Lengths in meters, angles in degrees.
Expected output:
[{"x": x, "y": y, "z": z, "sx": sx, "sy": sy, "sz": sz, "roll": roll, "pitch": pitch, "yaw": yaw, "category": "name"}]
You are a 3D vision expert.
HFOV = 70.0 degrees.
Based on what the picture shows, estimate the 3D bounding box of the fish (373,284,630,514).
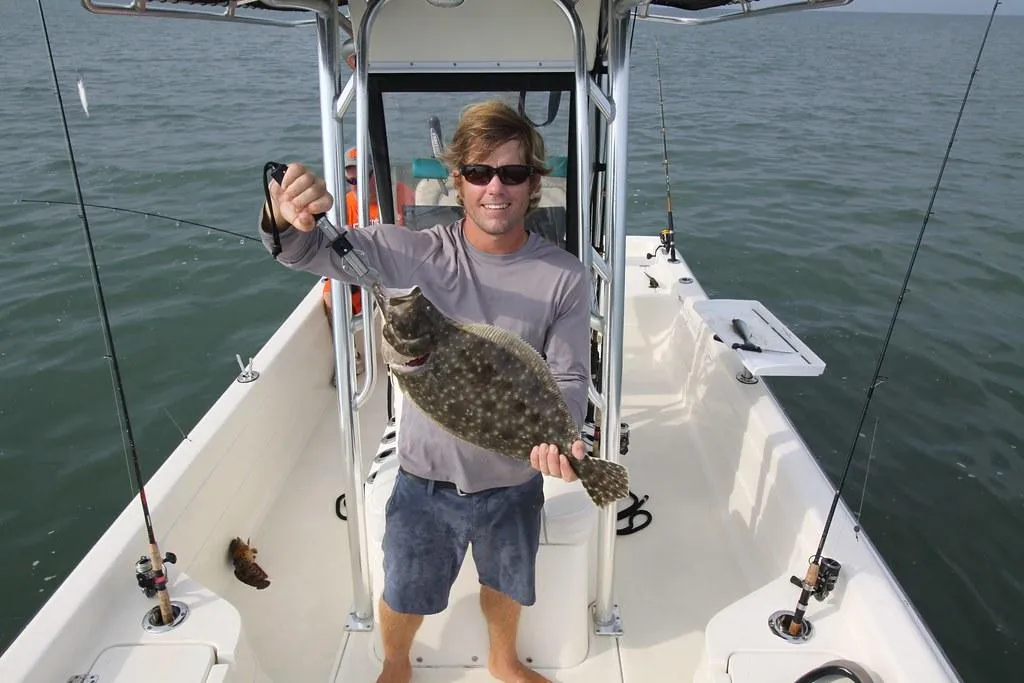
[{"x": -0.066, "y": 0.353, "z": 4.430, "sx": 1.906, "sy": 0.808, "sz": 0.342, "roll": 34, "pitch": 24, "yaw": 1, "category": "fish"}]

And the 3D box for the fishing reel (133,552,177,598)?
[{"x": -2.272, "y": 1.511, "z": 4.699, "sx": 0.286, "sy": 0.265, "sz": 0.154, "roll": -10, "pitch": -2, "yaw": 18, "category": "fishing reel"}]

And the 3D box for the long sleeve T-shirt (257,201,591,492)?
[{"x": -0.348, "y": -0.048, "z": 4.415, "sx": 1.462, "sy": 1.997, "sz": 0.470, "roll": 11, "pitch": 24, "yaw": 42, "category": "long sleeve T-shirt"}]
